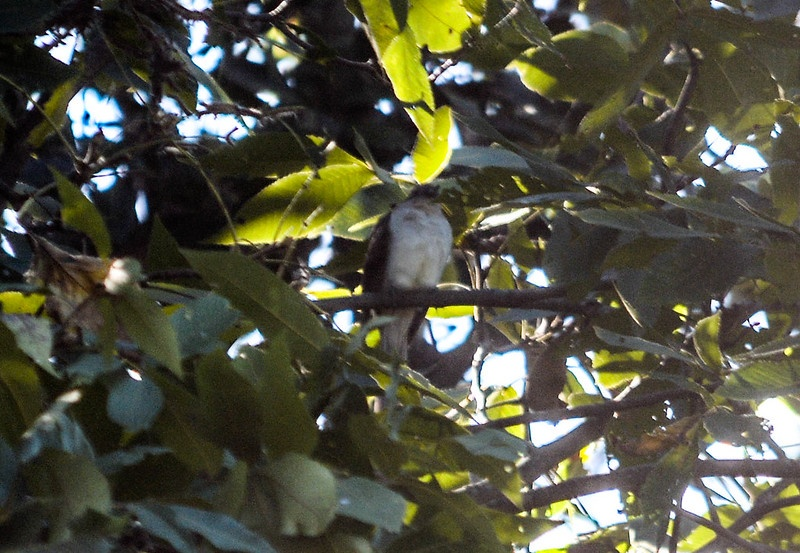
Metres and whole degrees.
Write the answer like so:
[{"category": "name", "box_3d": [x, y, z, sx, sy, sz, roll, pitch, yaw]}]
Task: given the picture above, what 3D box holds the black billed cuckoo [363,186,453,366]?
[{"category": "black billed cuckoo", "box_3d": [0.010, -0.040, 3.421, 0.184, 0.336, 0.403, 12, -36, -24]}]
